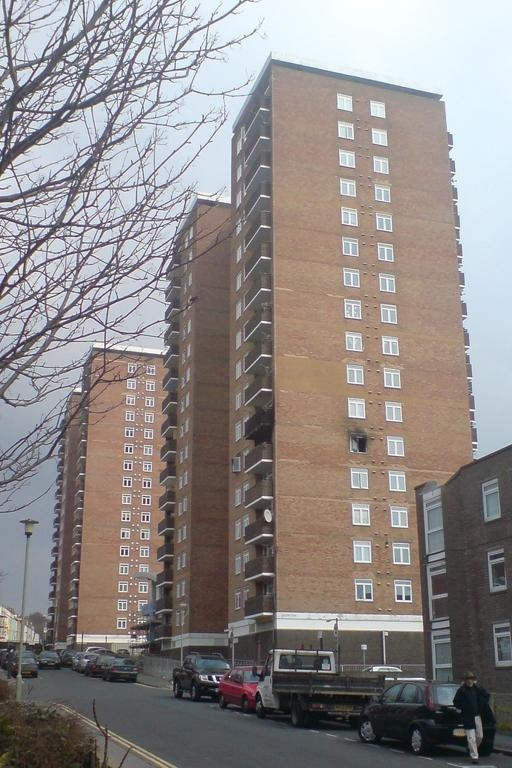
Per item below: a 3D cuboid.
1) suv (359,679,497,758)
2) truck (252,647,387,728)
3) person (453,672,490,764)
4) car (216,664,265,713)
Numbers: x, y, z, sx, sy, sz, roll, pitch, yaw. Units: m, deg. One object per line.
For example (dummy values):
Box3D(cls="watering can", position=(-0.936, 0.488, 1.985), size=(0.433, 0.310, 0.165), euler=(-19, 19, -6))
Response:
Box3D(cls="suv", position=(3.716, 7.161, 17.688), size=(1.832, 1.473, 3.035), euler=(10, -19, -16))
Box3D(cls="truck", position=(1.534, 8.564, 23.326), size=(2.126, 1.665, 3.801), euler=(8, -20, -20))
Box3D(cls="person", position=(4.279, 6.578, 16.212), size=(0.616, 1.599, 1.566), euler=(-8, -22, 20))
Box3D(cls="car", position=(-0.361, 10.557, 28.369), size=(1.579, 1.258, 2.627), euler=(8, -30, -17))
